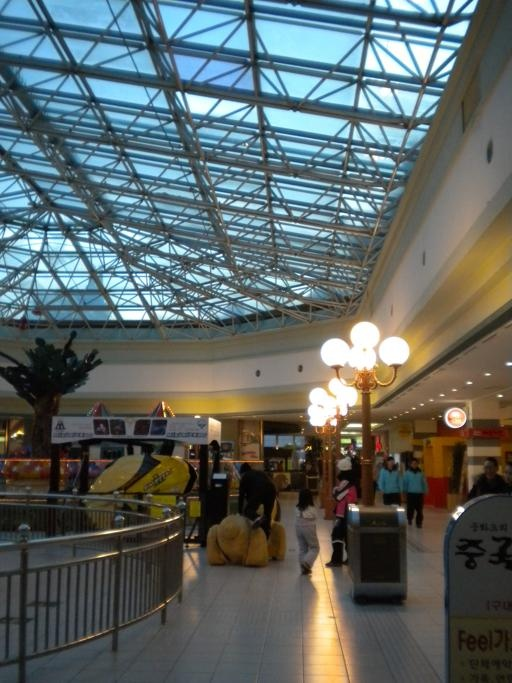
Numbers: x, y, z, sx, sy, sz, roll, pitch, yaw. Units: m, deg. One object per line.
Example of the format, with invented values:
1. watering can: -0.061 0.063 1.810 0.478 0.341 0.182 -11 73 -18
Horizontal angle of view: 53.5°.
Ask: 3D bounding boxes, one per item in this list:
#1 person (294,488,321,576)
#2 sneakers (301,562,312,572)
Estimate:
1. person: 0.828 3.071 8.239 0.342 1.340 1.003 -2 -11 5
2. sneakers: 0.771 3.501 7.824 0.148 0.171 0.232 -2 -11 6
